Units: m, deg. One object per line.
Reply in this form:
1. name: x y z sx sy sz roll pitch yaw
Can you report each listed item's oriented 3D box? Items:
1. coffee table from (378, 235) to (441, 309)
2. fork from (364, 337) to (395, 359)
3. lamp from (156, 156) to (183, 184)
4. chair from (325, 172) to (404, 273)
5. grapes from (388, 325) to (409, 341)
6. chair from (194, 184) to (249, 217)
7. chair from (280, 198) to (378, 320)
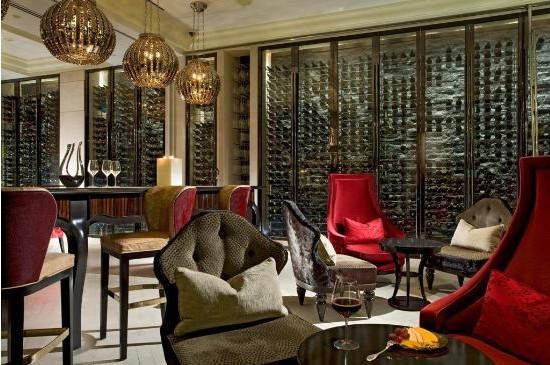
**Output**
1. coffee table: 1.429 0.974 4.671 0.815 0.698 0.733 1 3 -2
2. fork: 0.602 0.974 2.389 0.068 0.037 0.293 -1 2 38
3. lamp: -1.248 -0.154 4.873 0.281 0.327 0.313 -2 4 -15
4. chair: 1.050 0.446 5.359 1.010 1.240 1.223 1 -10 -9
5. grapes: 0.735 0.904 2.474 0.087 0.030 0.083 -7 -9 -37
6. chair: -0.622 0.212 4.997 0.546 0.528 0.471 3 -7 -20
7. chair: 0.563 0.763 4.842 1.281 1.448 1.167 -2 2 -16
